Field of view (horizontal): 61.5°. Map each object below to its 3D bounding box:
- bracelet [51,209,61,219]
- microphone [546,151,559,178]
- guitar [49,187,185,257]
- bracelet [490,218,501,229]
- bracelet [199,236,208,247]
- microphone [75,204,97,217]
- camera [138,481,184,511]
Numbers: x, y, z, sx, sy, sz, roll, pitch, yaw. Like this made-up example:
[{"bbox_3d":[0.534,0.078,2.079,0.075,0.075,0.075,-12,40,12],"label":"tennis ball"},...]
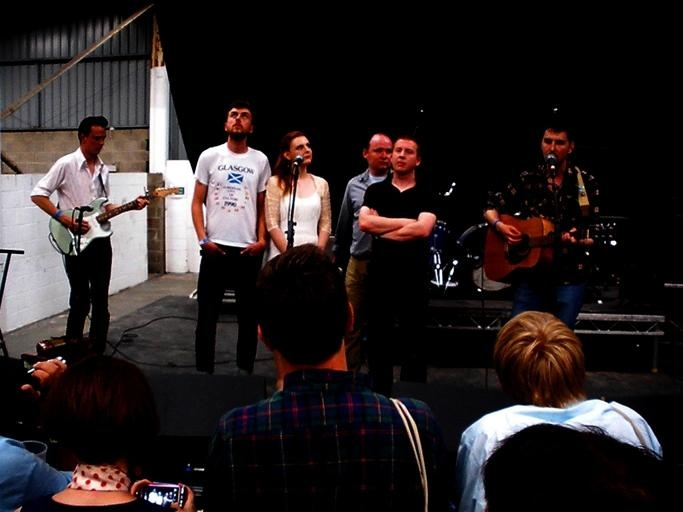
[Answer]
[{"bbox_3d":[-2.102,-0.313,4.273,0.070,0.072,0.045,5,8,10],"label":"bracelet"},{"bbox_3d":[1.363,-0.591,3.717,0.071,0.153,0.159,7,9,20],"label":"microphone"},{"bbox_3d":[-2.381,-0.383,6.177,1.089,0.383,0.154,-24,1,-39],"label":"guitar"},{"bbox_3d":[1.061,-0.227,3.945,0.021,0.058,0.053,18,7,-12],"label":"bracelet"},{"bbox_3d":[-0.912,-0.090,3.811,0.065,0.049,0.023,-17,-27,36],"label":"bracelet"},{"bbox_3d":[-1.926,-0.349,4.320,0.122,0.047,0.060,3,0,17],"label":"microphone"},{"bbox_3d":[-0.590,0.783,1.892,0.146,0.078,0.097,5,-5,-10],"label":"camera"}]
